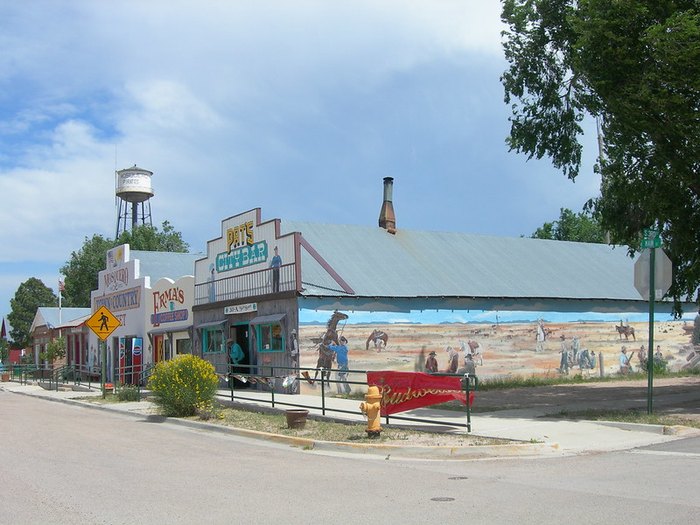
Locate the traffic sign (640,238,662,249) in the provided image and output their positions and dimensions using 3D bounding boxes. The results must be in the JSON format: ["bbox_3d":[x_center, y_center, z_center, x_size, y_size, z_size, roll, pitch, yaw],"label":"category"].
[{"bbox_3d":[8.660,-0.566,26.306,0.463,0.329,0.506,0,0,-21],"label":"traffic sign"}]

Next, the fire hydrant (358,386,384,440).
[{"bbox_3d":[0.545,3.795,23.432,0.524,1.272,1.021,1,-1,2],"label":"fire hydrant"}]

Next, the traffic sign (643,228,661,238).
[{"bbox_3d":[9.156,-0.908,27.869,0.370,0.154,0.388,-5,6,-37],"label":"traffic sign"}]

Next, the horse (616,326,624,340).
[{"bbox_3d":[12.366,3.188,41.981,0.497,0.596,0.135,2,-1,-45],"label":"horse"}]

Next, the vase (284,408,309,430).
[{"bbox_3d":[-1.488,4.279,24.960,0.470,0.373,0.498,0,-11,-7],"label":"vase"}]
